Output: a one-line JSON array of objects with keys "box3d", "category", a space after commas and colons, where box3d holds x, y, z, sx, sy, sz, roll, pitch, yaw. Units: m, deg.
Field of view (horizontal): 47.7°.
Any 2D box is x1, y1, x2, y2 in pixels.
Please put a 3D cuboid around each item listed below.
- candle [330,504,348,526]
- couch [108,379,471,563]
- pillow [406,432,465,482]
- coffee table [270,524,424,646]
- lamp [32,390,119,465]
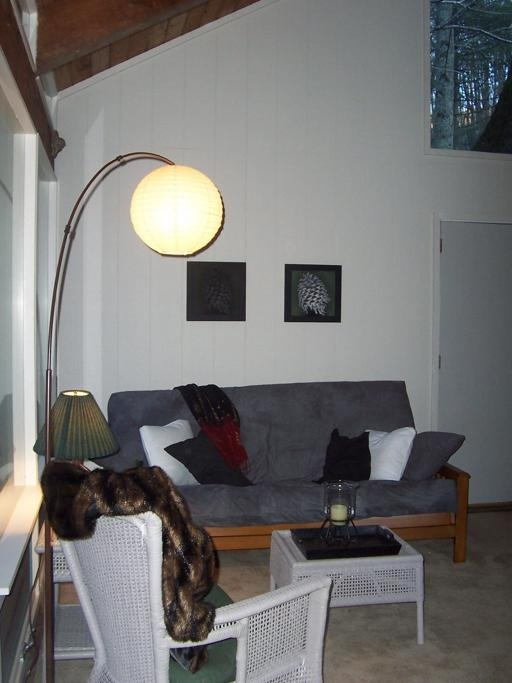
[{"box3d": [0.337, 0.716, 2.386, 0.072, 0.076, 0.075, -1, -2, 3], "category": "candle"}, {"box3d": [0.168, 0.810, 3.215, 1.805, 0.964, 0.904, -3, 7, -19], "category": "couch"}, {"box3d": [0.997, 0.585, 3.251, 0.270, 0.089, 0.299, 0, 21, 19], "category": "pillow"}, {"box3d": [0.388, 0.921, 2.251, 0.521, 0.366, 0.569, -1, 4, -3], "category": "coffee table"}, {"box3d": [-0.648, 0.323, 2.136, 0.268, 0.259, 0.300, -1, -6, -4], "category": "lamp"}]
